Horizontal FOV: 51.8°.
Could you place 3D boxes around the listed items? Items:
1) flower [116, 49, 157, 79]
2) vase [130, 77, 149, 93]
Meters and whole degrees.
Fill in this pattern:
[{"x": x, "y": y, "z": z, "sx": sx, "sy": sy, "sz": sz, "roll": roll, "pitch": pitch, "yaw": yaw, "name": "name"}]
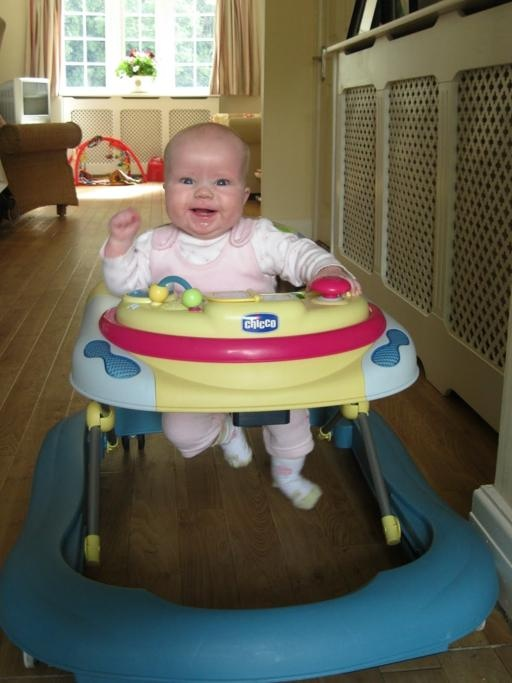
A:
[{"x": -1.304, "y": -3.045, "z": 5.782, "sx": 0.341, "sy": 0.270, "sz": 0.373, "roll": 22, "pitch": 36, "yaw": 19, "name": "flower"}, {"x": -1.333, "y": -2.946, "z": 6.050, "sx": 0.171, "sy": 0.125, "sz": 0.185, "roll": 0, "pitch": 31, "yaw": -1, "name": "vase"}]
